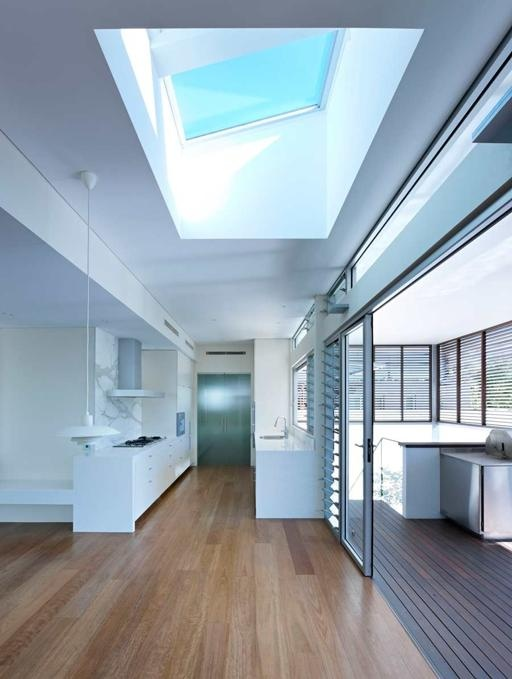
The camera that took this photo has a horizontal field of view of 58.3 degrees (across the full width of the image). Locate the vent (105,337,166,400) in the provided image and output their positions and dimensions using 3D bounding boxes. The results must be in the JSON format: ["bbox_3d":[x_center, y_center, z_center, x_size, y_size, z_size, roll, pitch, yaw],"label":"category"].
[{"bbox_3d":[-1.552,0.430,6.043,0.422,0.932,0.944,-3,-19,-2],"label":"vent"}]
